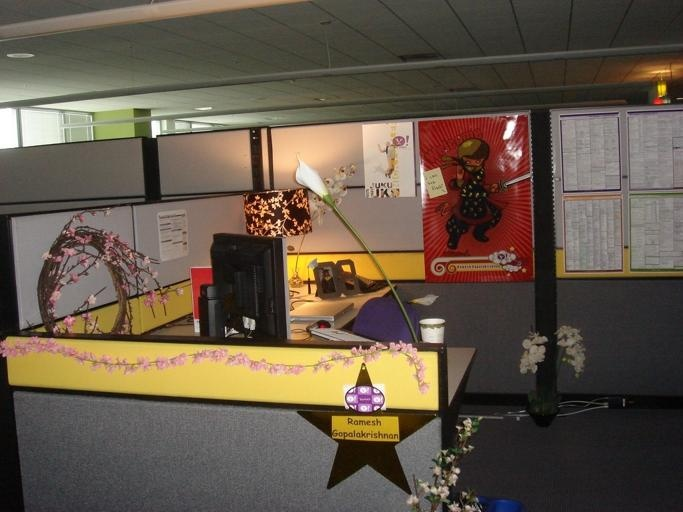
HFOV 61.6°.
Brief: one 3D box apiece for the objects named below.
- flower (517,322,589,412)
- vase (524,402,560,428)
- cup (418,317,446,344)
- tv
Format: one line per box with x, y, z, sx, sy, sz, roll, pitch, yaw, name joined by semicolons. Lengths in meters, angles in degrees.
1.550;0.800;4.152;0.473;0.604;0.310;-1;4;15;flower
1.455;1.128;4.107;0.221;0.184;0.180;-2;4;6;vase
0.473;0.380;2.947;0.148;0.107;0.149;0;-3;0;cup
-0.430;0.162;2.695;0.482;0.435;0.159;11;19;42;tv
